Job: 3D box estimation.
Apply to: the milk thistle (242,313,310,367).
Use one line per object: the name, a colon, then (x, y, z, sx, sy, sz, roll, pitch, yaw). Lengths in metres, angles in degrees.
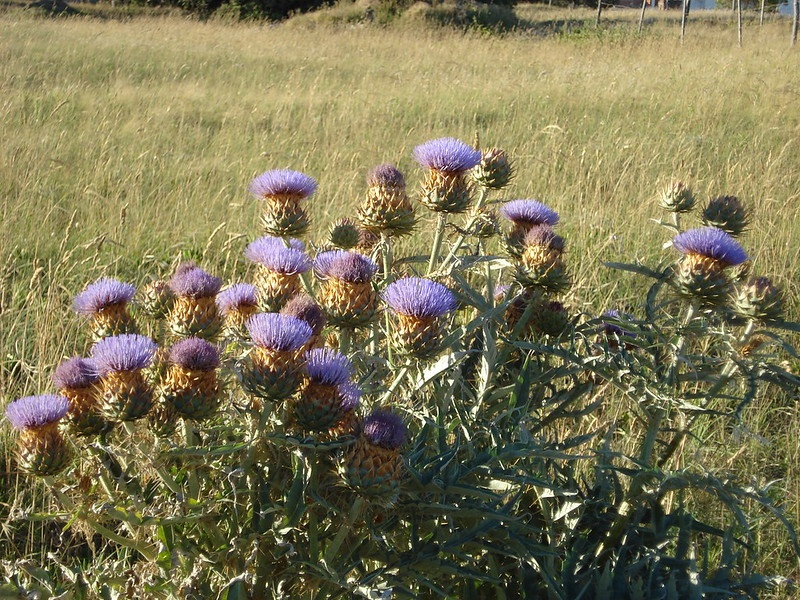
milk thistle: (-0.924, 0.258, 8.681, 0.320, 0.366, 0.362, 13, 3, 14)

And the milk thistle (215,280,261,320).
milk thistle: (-1.287, 0.009, 9.187, 0.235, 0.313, 0.274, -4, 13, -10)

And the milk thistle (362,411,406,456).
milk thistle: (-0.114, 0.973, 8.553, 0.234, 0.266, 0.273, 7, 11, -17)

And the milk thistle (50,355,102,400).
milk thistle: (-2.473, 0.572, 8.740, 0.241, 0.325, 0.279, -3, 2, -8)

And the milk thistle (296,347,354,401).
milk thistle: (-0.558, 0.543, 8.648, 0.274, 0.354, 0.312, 19, -1, 5)

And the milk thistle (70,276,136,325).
milk thistle: (-2.359, -0.028, 9.138, 0.294, 0.276, 0.339, -14, 7, 4)

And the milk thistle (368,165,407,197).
milk thistle: (-0.109, -1.001, 9.456, 0.220, 0.271, 0.205, -14, 19, -42)

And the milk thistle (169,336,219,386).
milk thistle: (-1.533, 0.436, 8.799, 0.309, 0.330, 0.315, 22, 20, 32)

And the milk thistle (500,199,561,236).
milk thistle: (1.067, -0.688, 9.563, 0.467, 0.217, 0.350, 8, 27, 4)

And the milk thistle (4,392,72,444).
milk thistle: (-2.729, 0.838, 8.688, 0.300, 0.231, 0.303, -11, 18, -41)

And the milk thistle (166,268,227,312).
milk thistle: (-1.612, -0.096, 9.045, 0.265, 0.300, 0.304, 2, 4, 15)
